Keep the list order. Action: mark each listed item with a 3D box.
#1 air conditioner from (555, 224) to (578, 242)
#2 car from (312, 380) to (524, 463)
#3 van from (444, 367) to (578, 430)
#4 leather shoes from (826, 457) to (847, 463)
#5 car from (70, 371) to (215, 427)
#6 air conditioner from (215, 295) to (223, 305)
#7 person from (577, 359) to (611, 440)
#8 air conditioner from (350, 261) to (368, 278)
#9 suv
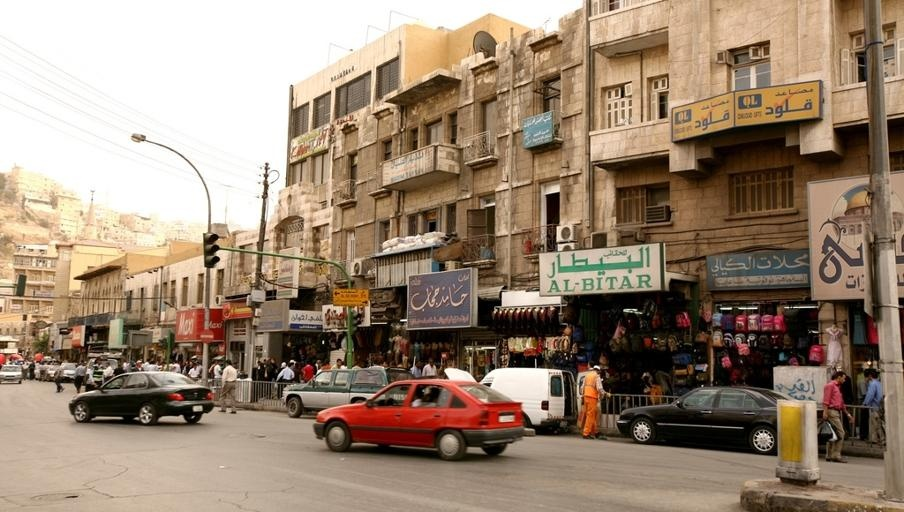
[{"bbox_3d":[5.259,-1.068,39.021,0.292,0.737,0.862,2,-2,-43],"label":"air conditioner"},{"bbox_3d":[-1.037,5.589,29.363,6.051,2.084,2.867,0,-6,23],"label":"car"},{"bbox_3d":[2.525,5.848,34.947,4.410,1.839,2.578,0,-7,30],"label":"van"},{"bbox_3d":[13.282,7.058,29.494,0.546,0.225,0.216,-2,-3,-5],"label":"leather shoes"},{"bbox_3d":[-12.725,5.896,35.457,5.275,1.671,2.423,0,-7,18],"label":"car"},{"bbox_3d":[-16.612,3.137,61.059,0.406,0.628,0.737,4,-4,-27],"label":"air conditioner"},{"bbox_3d":[5.562,5.697,33.705,1.050,2.761,1.553,-1,5,8],"label":"person"},{"bbox_3d":[-5.246,0.986,48.600,0.802,1.019,1.518,4,-8,-25],"label":"air conditioner"},{"bbox_3d":[-4.866,6.358,38.795,5.355,1.868,2.611,-4,-7,36],"label":"suv"}]
